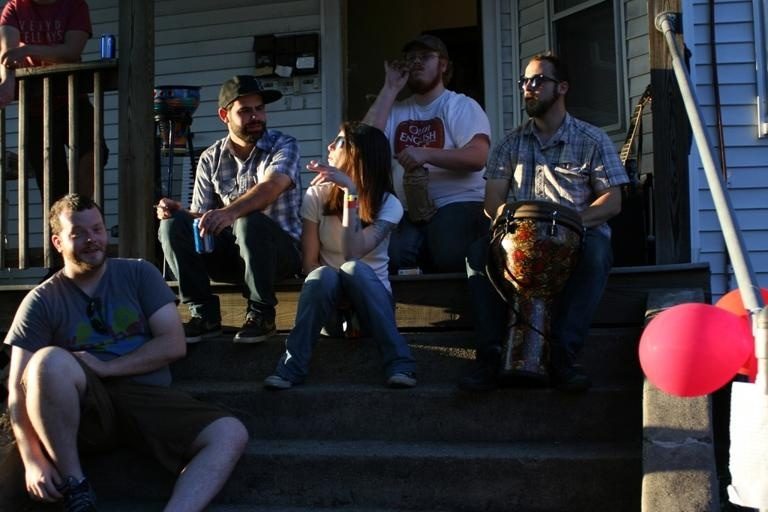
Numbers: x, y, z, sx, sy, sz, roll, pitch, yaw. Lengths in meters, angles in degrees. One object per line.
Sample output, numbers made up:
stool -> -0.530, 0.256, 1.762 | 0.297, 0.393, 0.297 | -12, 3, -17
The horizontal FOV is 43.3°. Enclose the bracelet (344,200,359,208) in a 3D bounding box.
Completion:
bracelet -> -0.208, -0.312, 6.027 | 0.053, 0.038, 0.054 | 1, -5, 3

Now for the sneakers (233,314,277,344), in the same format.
sneakers -> -0.798, 0.468, 6.114 | 0.120, 0.139, 0.295 | -1, -5, 18

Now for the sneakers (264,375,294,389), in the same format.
sneakers -> -0.634, 0.746, 5.778 | 0.135, 0.062, 0.073 | 10, -1, -8

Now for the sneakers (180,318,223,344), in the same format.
sneakers -> -1.171, 0.484, 6.181 | 0.275, 0.132, 0.108 | 4, -2, -44

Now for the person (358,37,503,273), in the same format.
person -> 0.237, -0.593, 7.010 | 0.922, 1.988, 0.912 | -2, -1, -6

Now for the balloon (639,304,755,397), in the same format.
balloon -> 1.668, 0.508, 5.181 | 0.638, 0.542, 0.490 | -3, 15, 35

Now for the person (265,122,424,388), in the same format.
person -> -0.258, -0.035, 6.045 | 0.844, 1.539, 0.868 | -3, 8, 1

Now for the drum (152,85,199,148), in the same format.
drum -> -1.886, -1.225, 8.859 | 0.499, 0.577, 0.497 | 0, -4, -31

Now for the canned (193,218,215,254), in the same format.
canned -> -1.134, -0.142, 6.095 | 0.135, 0.231, 0.124 | -11, 22, -26

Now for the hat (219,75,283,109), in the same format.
hat -> -0.924, -1.144, 6.580 | 0.371, 0.194, 0.250 | -23, -6, 15

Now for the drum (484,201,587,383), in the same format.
drum -> 0.885, 0.242, 5.879 | 0.628, 1.068, 0.665 | 5, -15, 1

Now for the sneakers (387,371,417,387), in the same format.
sneakers -> 0.105, 0.738, 5.722 | 0.171, 0.073, 0.073 | 4, -25, 1

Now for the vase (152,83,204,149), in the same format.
vase -> -1.833, -1.255, 8.908 | 0.499, 0.585, 0.516 | -1, -2, -7
